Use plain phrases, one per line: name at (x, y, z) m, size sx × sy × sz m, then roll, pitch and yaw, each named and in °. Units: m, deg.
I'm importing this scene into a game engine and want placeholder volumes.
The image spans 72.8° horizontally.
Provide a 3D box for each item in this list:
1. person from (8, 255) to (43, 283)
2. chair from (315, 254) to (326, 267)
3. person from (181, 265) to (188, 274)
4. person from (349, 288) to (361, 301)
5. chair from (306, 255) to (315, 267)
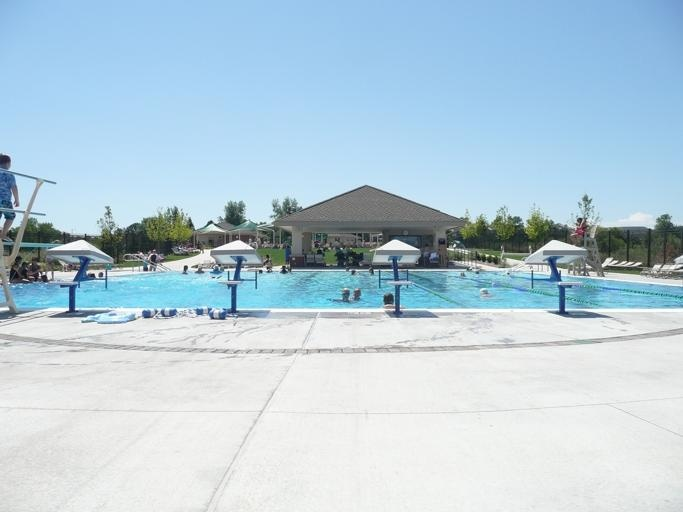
person at (-15.467, 0.676, 22.335) m, size 1.288 × 1.002 × 1.504 m, roll 0°, pitch -2°, yaw 7°
chair at (-1.621, 0.347, 34.261) m, size 0.854 × 0.933 × 1.398 m, roll -1°, pitch 0°, yaw 2°
person at (-10.936, 0.990, 32.016) m, size 0.473 × 0.485 × 0.904 m, roll 2°, pitch -17°, yaw -16°
person at (0.521, 1.396, 17.090) m, size 0.288 × 0.485 × 0.800 m, roll 0°, pitch 8°, yaw -2°
chair at (-2.325, 0.298, 33.978) m, size 0.710 × 0.752 × 0.510 m, roll 2°, pitch 9°, yaw 12°
